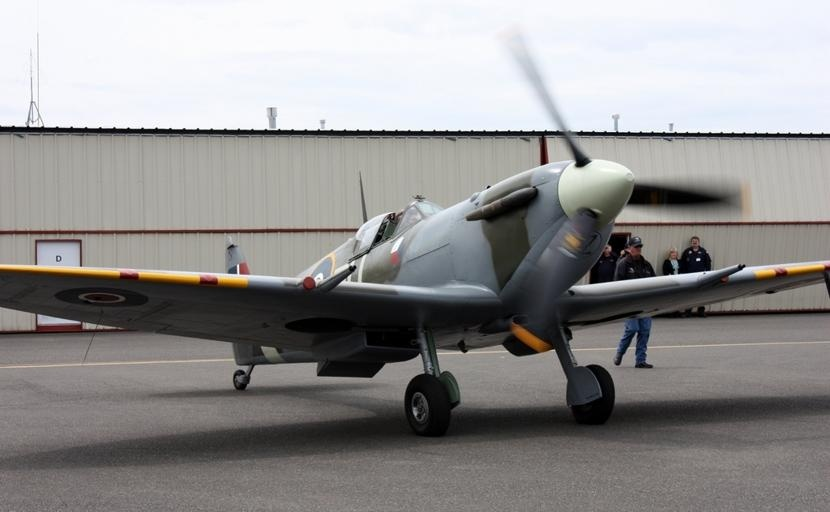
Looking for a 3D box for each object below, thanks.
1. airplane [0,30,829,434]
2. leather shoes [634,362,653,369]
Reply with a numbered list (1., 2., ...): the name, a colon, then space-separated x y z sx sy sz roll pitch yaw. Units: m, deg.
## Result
1. airplane: -0.053 -0.188 9.127 7.613 4.358 2.285 -1 0 -7
2. leather shoes: 3.981 1.919 13.241 0.325 0.097 0.104 -1 -2 11
